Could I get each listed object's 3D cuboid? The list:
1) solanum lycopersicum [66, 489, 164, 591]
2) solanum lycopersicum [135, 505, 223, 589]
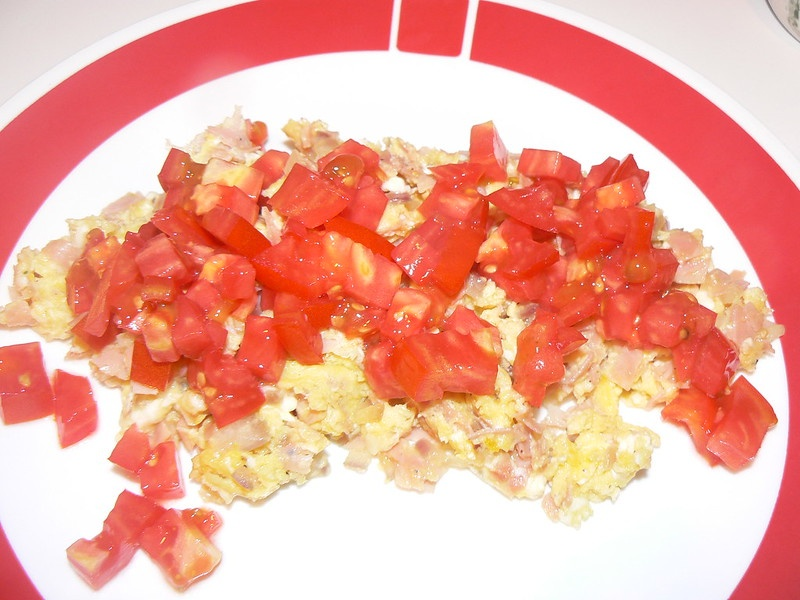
[{"bbox_3d":[-0.818,0.698,1.934,0.199,0.272,0.093,12,-60,21],"label":"solanum lycopersicum"},{"bbox_3d":[-0.632,0.678,1.922,0.266,0.068,0.284,24,-67,5],"label":"solanum lycopersicum"}]
